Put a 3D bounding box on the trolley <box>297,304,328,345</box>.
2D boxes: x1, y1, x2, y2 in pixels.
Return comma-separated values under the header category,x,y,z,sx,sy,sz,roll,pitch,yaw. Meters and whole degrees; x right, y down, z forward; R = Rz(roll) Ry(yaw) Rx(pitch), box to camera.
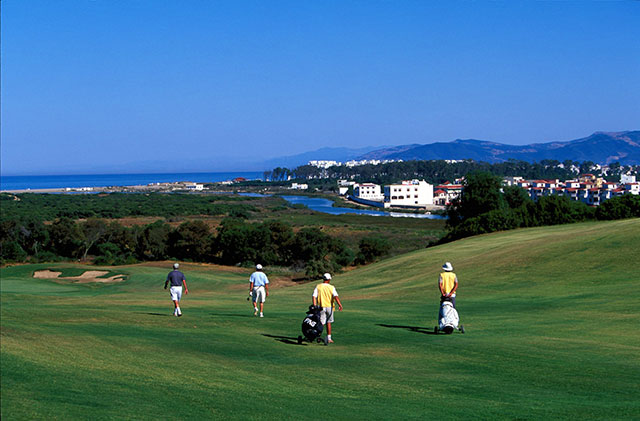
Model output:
category,x,y,z,sx,sy,sz,roll,pitch,yaw
trolley,-0.384,5.166,31.910,1.246,0.659,1.919,0,35,3
